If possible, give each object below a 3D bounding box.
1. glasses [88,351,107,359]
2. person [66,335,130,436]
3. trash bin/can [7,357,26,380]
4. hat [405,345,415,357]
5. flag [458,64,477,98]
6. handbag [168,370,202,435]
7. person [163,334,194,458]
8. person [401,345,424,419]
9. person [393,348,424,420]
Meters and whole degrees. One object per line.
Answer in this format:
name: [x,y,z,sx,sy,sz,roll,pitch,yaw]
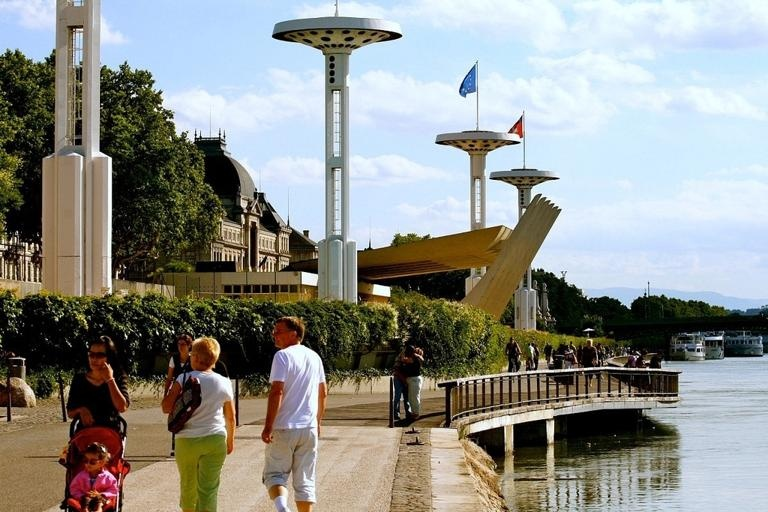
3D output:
glasses: [-6.212,2.118,30.846,0.371,0.162,0.078,1,-2,-9]
person: [-6.301,2.706,31.401,1.100,2.310,1.447,1,3,-3]
trash bin/can: [-12.001,3.637,46.426,0.691,0.976,0.655,0,-6,-8]
hat: [0.836,2.888,43.778,0.302,0.319,0.364,1,-2,1]
flag: [6.396,-13.292,106.320,1.341,3.717,0.256,-7,-40,14]
handbag: [-4.343,3.193,30.828,0.414,1.203,0.707,17,18,-42]
person: [-4.900,3.631,35.003,1.037,3.746,0.904,0,19,-15]
person: [0.884,3.882,44.121,0.633,2.273,1.293,1,-2,0]
person: [0.796,3.782,43.764,0.707,2.421,0.750,2,10,15]
